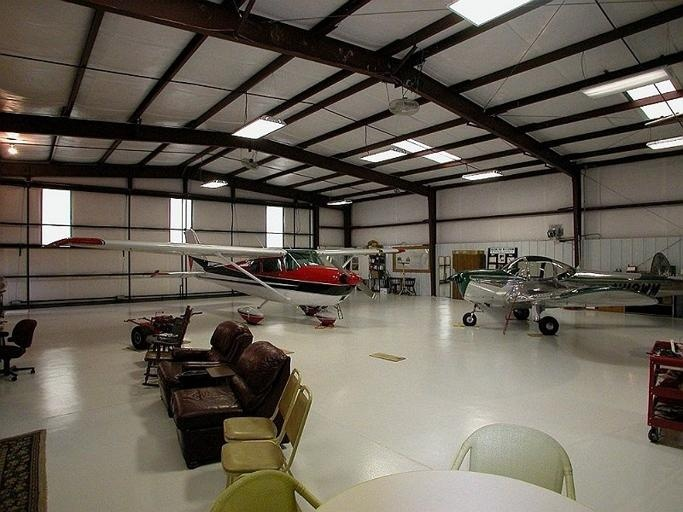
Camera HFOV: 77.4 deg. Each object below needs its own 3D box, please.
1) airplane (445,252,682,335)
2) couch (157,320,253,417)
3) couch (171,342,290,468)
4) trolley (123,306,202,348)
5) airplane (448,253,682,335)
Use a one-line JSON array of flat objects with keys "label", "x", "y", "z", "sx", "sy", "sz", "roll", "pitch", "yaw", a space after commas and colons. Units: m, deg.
[{"label": "airplane", "x": 4.442, "y": 0.652, "z": 8.870, "sx": 2.704, "sy": 0.854, "sz": 2.850, "roll": 2, "pitch": -4, "yaw": 11}, {"label": "couch", "x": -1.849, "y": 1.387, "z": 5.673, "sx": 1.258, "sy": 1.066, "sz": 1.188, "roll": 3, "pitch": -4, "yaw": -21}, {"label": "couch", "x": -1.275, "y": 1.560, "z": 5.048, "sx": 1.350, "sy": 1.061, "sz": 1.355, "roll": 2, "pitch": -4, "yaw": -19}, {"label": "trolley", "x": -3.653, "y": 1.458, "z": 8.656, "sx": 1.887, "sy": 0.834, "sz": 0.992, "roll": 0, "pitch": -3, "yaw": 15}, {"label": "airplane", "x": 4.902, "y": 0.940, "z": 9.242, "sx": 2.987, "sy": 1.779, "sz": 3.935, "roll": -5, "pitch": 9, "yaw": -34}]
